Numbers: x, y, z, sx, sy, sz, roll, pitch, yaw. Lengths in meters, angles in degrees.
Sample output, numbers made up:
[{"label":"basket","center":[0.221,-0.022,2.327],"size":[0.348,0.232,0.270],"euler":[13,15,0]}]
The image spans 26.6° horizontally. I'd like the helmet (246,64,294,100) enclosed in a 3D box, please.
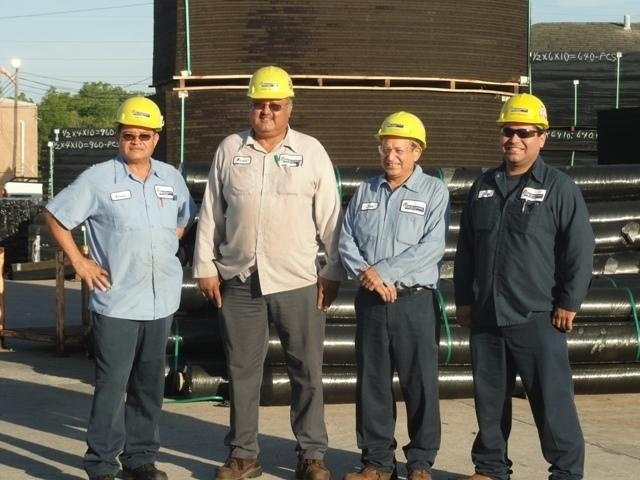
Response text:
[{"label":"helmet","center":[-0.565,-1.807,15.563],"size":[0.505,0.373,0.249],"euler":[-1,8,-3]}]
